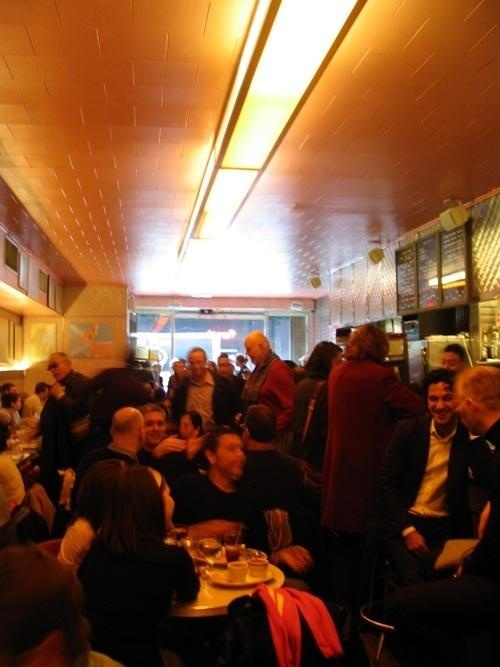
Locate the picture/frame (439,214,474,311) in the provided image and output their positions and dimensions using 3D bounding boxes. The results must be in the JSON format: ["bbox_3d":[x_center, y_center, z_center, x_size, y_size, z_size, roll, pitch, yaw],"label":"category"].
[{"bbox_3d":[2.028,-0.682,4.914,0.108,0.789,0.485,-2,-2,-8],"label":"picture/frame"}]

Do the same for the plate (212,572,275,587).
[{"bbox_3d":[-0.036,0.913,1.848,0.194,0.030,0.138,1,-9,-5],"label":"plate"}]

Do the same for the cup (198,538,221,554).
[{"bbox_3d":[-0.164,0.832,1.969,0.057,0.040,0.050,-1,-1,-1],"label":"cup"}]

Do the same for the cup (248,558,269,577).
[{"bbox_3d":[0.030,0.883,1.875,0.062,0.043,0.063,-3,-6,0],"label":"cup"}]

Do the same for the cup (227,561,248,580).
[{"bbox_3d":[-0.046,0.879,1.845,0.065,0.049,0.066,0,-8,0],"label":"cup"}]
